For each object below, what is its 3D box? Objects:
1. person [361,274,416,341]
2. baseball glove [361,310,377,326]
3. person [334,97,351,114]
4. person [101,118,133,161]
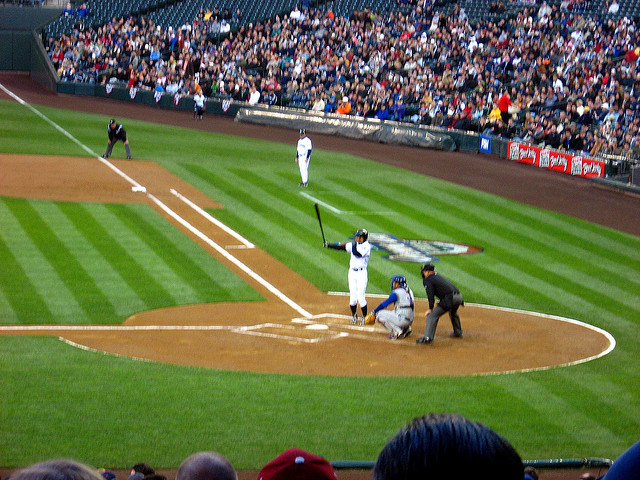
[{"bbox_3d":[1.862,1.651,27.388,1.223,1.853,0.973,0,14,-3],"label":"person"},{"bbox_3d":[1.329,2.089,27.805,0.268,0.215,0.476,-2,7,-6],"label":"baseball glove"},{"bbox_3d":[1.217,-6.618,51.628,0.553,0.868,0.319,-10,-35,39],"label":"person"},{"bbox_3d":[-7.911,-3.976,40.608,0.986,1.687,0.919,1,23,2],"label":"person"}]
